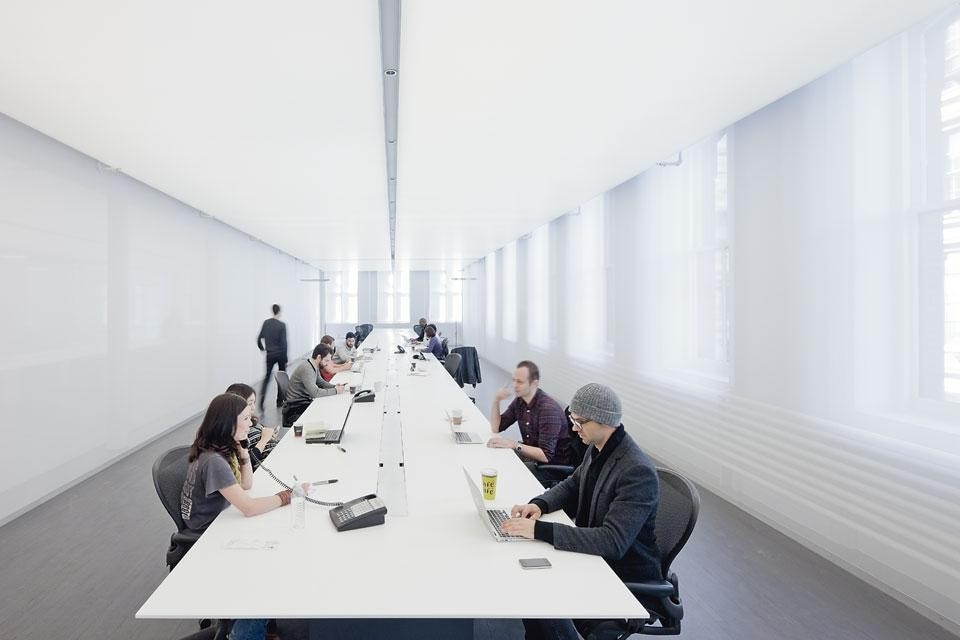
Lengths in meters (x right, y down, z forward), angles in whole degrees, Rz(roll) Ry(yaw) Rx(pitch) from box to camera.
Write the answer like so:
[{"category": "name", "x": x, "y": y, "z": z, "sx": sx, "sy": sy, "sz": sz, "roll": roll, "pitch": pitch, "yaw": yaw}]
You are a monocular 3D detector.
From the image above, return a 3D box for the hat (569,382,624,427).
[{"category": "hat", "x": 0.737, "y": 0.545, "z": 3.643, "sx": 0.275, "sy": 0.187, "sz": 0.278, "roll": 15, "pitch": -10, "yaw": 6}]

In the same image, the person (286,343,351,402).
[{"category": "person", "x": -1.835, "y": 0.629, "z": 6.437, "sx": 0.660, "sy": 0.740, "sz": 0.550, "roll": 10, "pitch": 7, "yaw": 20}]

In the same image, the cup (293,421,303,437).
[{"category": "cup", "x": -1.462, "y": 0.896, "z": 4.609, "sx": 0.079, "sy": 0.081, "sz": 0.079, "roll": 0, "pitch": -1, "yaw": 0}]

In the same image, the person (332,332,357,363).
[{"category": "person", "x": -2.345, "y": 0.484, "z": 9.940, "sx": 0.331, "sy": 0.815, "sz": 0.271, "roll": -7, "pitch": 16, "yaw": -34}]

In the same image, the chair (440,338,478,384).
[{"category": "chair", "x": -0.246, "y": 0.634, "z": 8.184, "sx": 0.474, "sy": 0.580, "sz": 0.554, "roll": -1, "pitch": -8, "yaw": 4}]

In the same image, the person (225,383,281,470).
[{"category": "person", "x": -1.809, "y": 0.902, "z": 4.612, "sx": 0.421, "sy": 0.806, "sz": 0.332, "roll": -6, "pitch": -32, "yaw": -15}]
